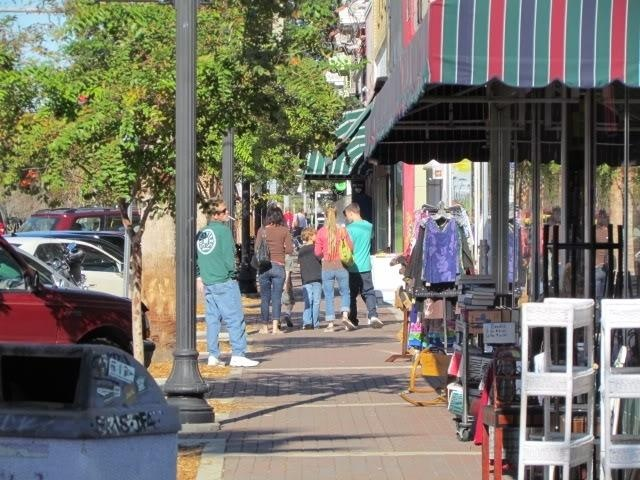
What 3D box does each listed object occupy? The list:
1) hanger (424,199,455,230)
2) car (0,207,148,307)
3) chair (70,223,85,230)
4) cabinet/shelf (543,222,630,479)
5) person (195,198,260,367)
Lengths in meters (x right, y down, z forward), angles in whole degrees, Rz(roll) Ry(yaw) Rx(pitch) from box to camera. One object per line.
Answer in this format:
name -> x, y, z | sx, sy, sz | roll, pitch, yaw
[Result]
hanger -> 1.644, -0.393, 13.703 | 0.395, 0.370, 0.505 | -1, -2, 1
car -> -4.305, 0.417, 17.193 | 2.297, 1.411, 1.580 | -2, 9, -29
chair -> -5.278, -0.338, 21.224 | 0.143, 0.165, 0.142 | 3, -4, -39
cabinet/shelf -> 2.704, 0.560, 10.011 | 1.053, 2.540, 1.207 | 1, 3, 8
person -> -1.301, 0.564, 13.102 | 0.701, 2.251, 0.984 | -1, -2, -5
